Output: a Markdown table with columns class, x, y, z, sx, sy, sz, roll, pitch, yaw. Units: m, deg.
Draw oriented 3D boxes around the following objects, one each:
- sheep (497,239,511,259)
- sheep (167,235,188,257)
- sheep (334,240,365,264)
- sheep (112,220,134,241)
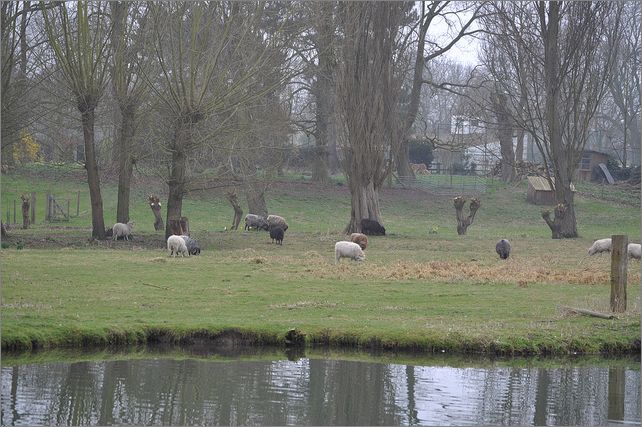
| class | x | y | z | sx | sy | sz | roll | pitch | yaw |
| --- | --- | --- | --- | --- | --- | --- | --- | --- | --- |
| sheep | 11.321 | 2.141 | 78.903 | 0.826 | 1.253 | 1.719 | -2 | 0 | 8 |
| sheep | -8.492 | 1.892 | 76.809 | 1.025 | 1.274 | 1.414 | -2 | 0 | 13 |
| sheep | 1.702 | 2.247 | 76.021 | 1.809 | 1.290 | 1.269 | -2 | 0 | -10 |
| sheep | -12.629 | 1.073 | 81.780 | 1.388 | 1.143 | 0.983 | -2 | 0 | -23 |
